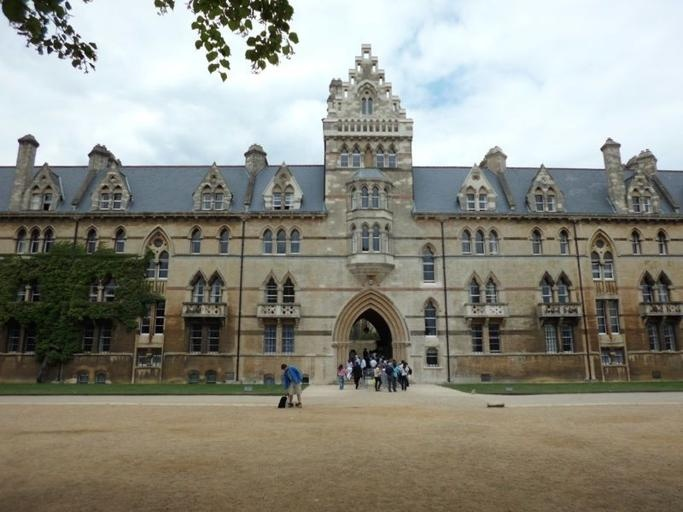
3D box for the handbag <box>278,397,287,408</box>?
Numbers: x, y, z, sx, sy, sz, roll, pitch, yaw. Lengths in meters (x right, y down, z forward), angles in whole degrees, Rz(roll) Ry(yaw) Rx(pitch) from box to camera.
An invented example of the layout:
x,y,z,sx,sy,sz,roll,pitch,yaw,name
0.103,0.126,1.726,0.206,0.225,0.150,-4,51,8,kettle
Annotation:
x,y,z,sx,sy,sz,roll,pitch,yaw,name
-2.667,6.583,23.834,0.375,0.509,0.529,3,-18,-4,handbag
